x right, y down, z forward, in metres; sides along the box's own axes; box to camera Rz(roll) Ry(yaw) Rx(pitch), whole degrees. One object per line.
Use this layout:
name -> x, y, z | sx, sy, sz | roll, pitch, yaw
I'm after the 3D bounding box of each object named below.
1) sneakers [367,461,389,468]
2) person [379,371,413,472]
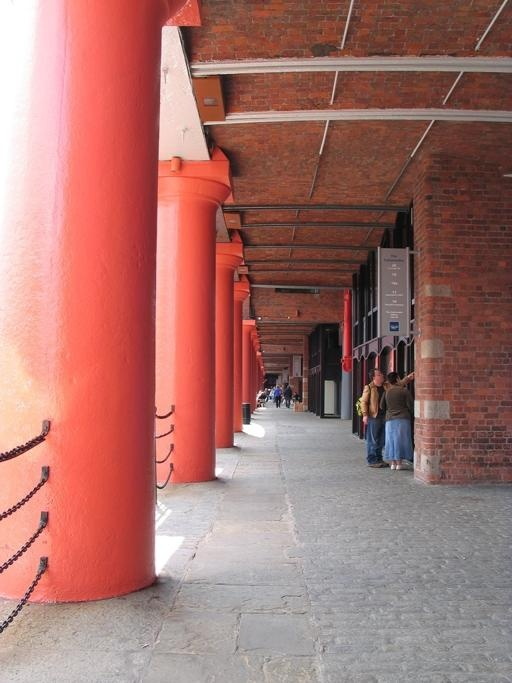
sneakers -> 2.109, 2.148, 10.839 | 0.309, 0.119, 0.109 | -3, -4, 12
person -> 2.405, 1.368, 10.669 | 0.522, 1.567, 0.758 | 2, 0, 11
